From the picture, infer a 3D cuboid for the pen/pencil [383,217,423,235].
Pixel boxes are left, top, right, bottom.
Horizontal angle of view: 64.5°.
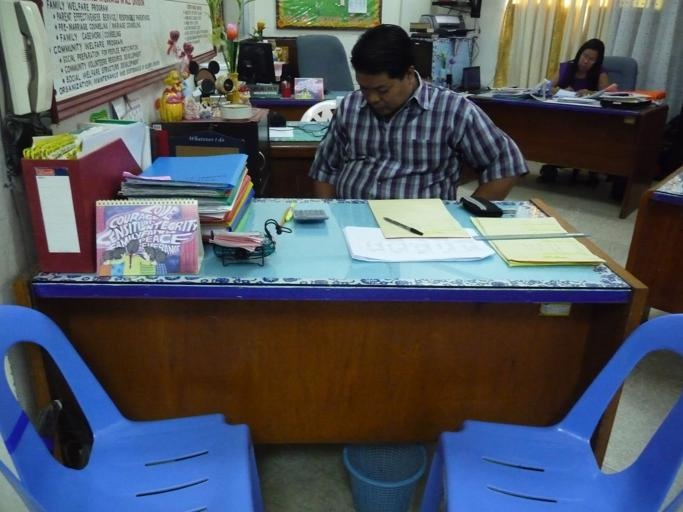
[{"bbox_3d":[0.200,-0.097,1.758,0.106,0.011,0.011,32,36,28],"label":"pen/pencil"}]
